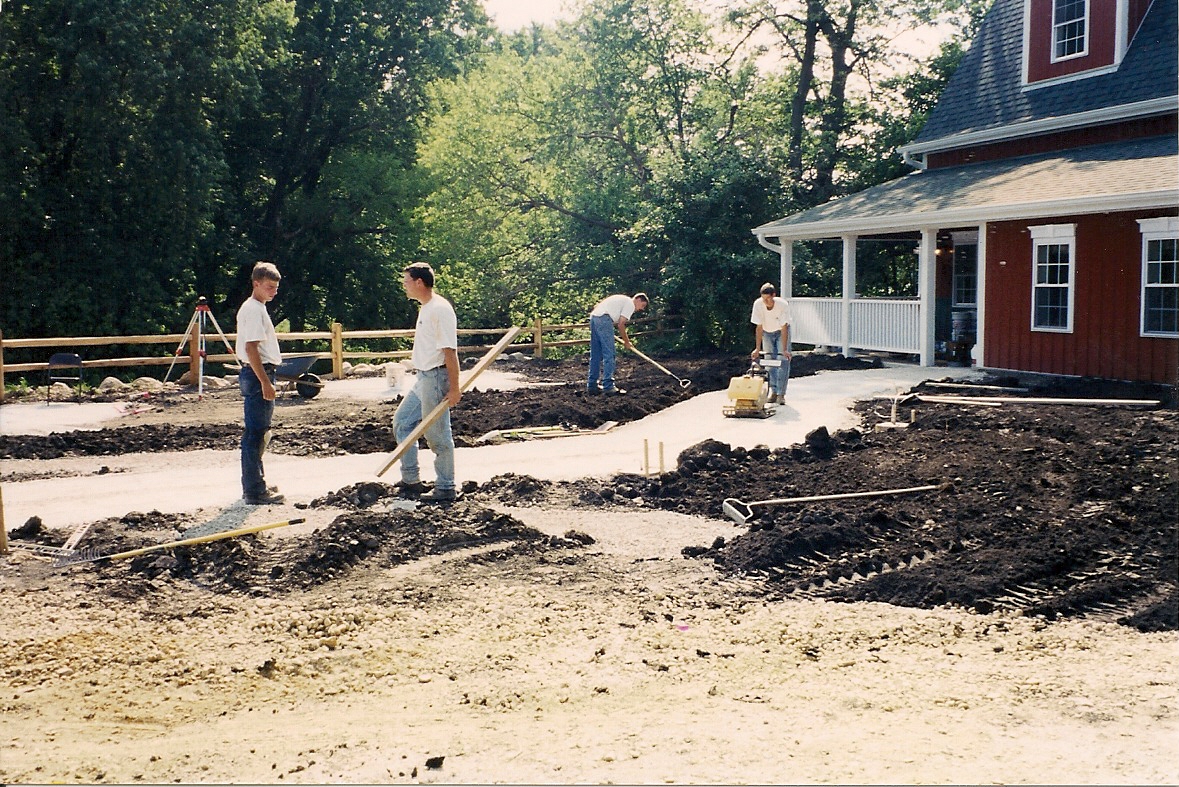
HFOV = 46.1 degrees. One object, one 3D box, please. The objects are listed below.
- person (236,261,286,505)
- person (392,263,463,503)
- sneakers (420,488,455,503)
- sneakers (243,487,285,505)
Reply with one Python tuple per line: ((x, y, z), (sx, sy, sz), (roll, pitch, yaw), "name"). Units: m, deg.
((-4.711, -0.149, 19.728), (0.640, 3.417, 0.954), (-3, 3, -14), "person")
((-2.330, -0.156, 19.592), (0.952, 3.359, 0.898), (-2, 3, -8), "person")
((-2.166, 1.445, 19.491), (0.505, 0.182, 0.176), (3, 3, 5), "sneakers")
((-4.635, 1.472, 19.552), (0.667, 0.235, 0.225), (0, -1, -9), "sneakers")
